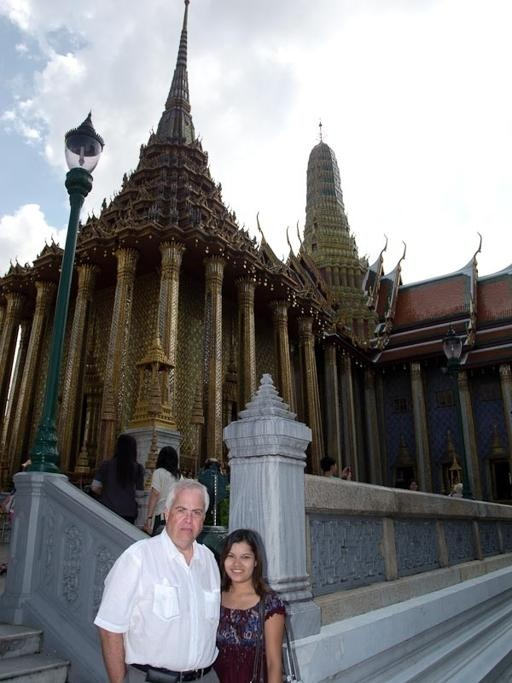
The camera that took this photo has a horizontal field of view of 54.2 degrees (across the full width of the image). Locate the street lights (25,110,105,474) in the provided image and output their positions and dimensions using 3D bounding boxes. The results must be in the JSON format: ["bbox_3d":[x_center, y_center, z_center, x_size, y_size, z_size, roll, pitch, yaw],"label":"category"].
[{"bbox_3d":[-1.564,-0.664,4.179,0.323,3.429,0.542,9,-18,-24],"label":"street lights"}]
